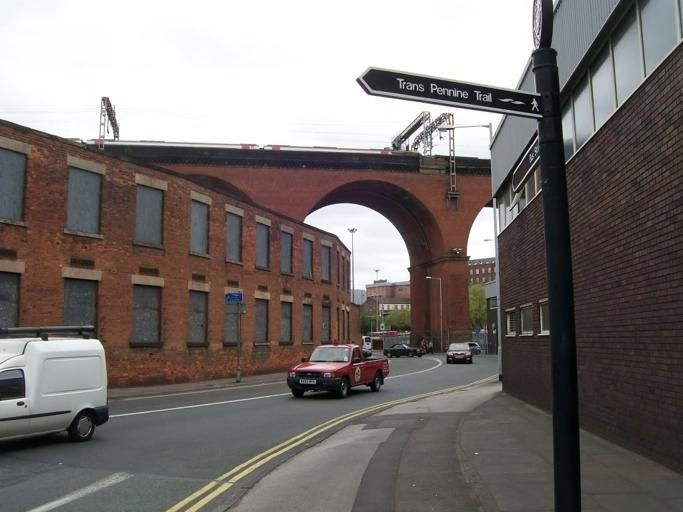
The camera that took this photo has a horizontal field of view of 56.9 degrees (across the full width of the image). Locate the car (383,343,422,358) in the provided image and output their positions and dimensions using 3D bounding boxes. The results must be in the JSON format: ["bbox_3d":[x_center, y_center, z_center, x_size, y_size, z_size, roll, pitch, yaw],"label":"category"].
[{"bbox_3d":[6.107,9.261,61.263,2.902,1.107,1.382,-15,-18,42],"label":"car"}]

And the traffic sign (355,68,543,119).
[{"bbox_3d":[1.175,-1.740,6.926,1.947,0.774,0.223,-5,-11,0],"label":"traffic sign"}]

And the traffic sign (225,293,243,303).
[{"bbox_3d":[-4.700,1.860,27.820,0.743,0.493,0.553,4,-4,-4],"label":"traffic sign"}]

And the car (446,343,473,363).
[{"bbox_3d":[8.432,7.019,45.355,1.737,1.523,1.519,-6,-12,7],"label":"car"}]

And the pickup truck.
[{"bbox_3d":[-0.131,4.081,22.410,1.626,1.912,4.043,-11,-14,30],"label":"pickup truck"}]

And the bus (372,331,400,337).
[{"bbox_3d":[7.379,13.191,106.147,3.415,1.027,4.003,-1,-8,7],"label":"bus"}]

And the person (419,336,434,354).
[{"bbox_3d":[8.357,8.828,62.083,1.066,1.750,0.575,1,1,-14],"label":"person"}]
